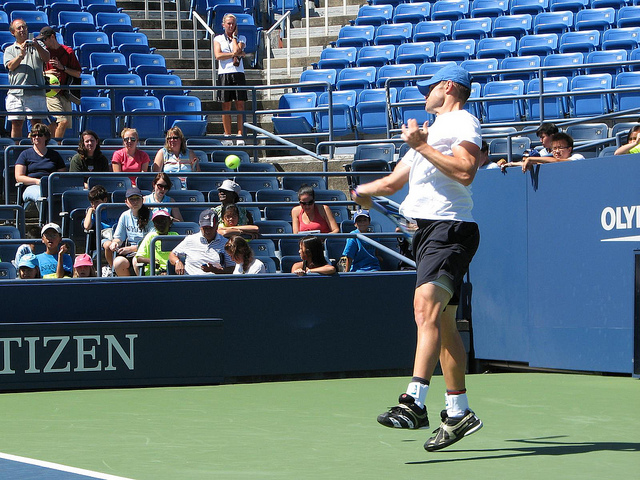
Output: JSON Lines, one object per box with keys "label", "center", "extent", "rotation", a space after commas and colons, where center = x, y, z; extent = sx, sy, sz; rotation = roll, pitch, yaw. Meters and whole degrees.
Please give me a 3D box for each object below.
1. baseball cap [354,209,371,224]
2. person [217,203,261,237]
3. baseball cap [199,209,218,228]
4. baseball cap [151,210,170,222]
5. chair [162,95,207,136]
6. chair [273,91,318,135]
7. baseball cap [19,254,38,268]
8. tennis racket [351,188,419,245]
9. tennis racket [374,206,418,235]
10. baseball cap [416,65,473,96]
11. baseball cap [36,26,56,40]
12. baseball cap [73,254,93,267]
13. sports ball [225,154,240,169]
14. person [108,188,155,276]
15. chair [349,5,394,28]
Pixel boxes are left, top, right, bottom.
{"label": "baseball cap", "center": [0.485, -0.303, 13.574], "extent": [0.211, 0.141, 0.328], "rotation": [0, -12, 3]}
{"label": "person", "center": [-1.031, -0.275, 12.842], "extent": [0.554, 0.298, 0.729], "rotation": [-1, 13, -8]}
{"label": "baseball cap", "center": [-1.223, -0.224, 12.221], "extent": [0.183, 0.172, 0.289], "rotation": [-2, 9, -9]}
{"label": "baseball cap", "center": [-1.795, -0.268, 12.643], "extent": [0.194, 0.108, 0.279], "rotation": [-2, 9, -9]}
{"label": "chair", "center": [-2.188, -1.963, 18.139], "extent": [0.722, 0.723, 0.606], "rotation": [0, 8, -26]}
{"label": "chair", "center": [-0.446, -2.023, 18.543], "extent": [0.693, 0.745, 0.776], "rotation": [10, 19, 43]}
{"label": "baseball cap", "center": [-3.052, 0.223, 11.792], "extent": [0.187, 0.128, 0.174], "rotation": [1, 9, 8]}
{"label": "tennis racket", "center": [0.609, -0.175, 9.444], "extent": [0.385, 0.312, 0.633], "rotation": [0, 9, 3]}
{"label": "tennis racket", "center": [0.703, -0.178, 10.675], "extent": [0.216, 0.040, 0.502], "rotation": [46, -14, -33]}
{"label": "baseball cap", "center": [1.015, -1.354, 9.359], "extent": [0.416, 0.201, 0.260], "rotation": [9, 1, 11]}
{"label": "baseball cap", "center": [-4.015, -2.986, 16.454], "extent": [0.275, 0.127, 0.172], "rotation": [-29, 29, -31]}
{"label": "baseball cap", "center": [-2.558, 0.228, 12.138], "extent": [0.179, 0.128, 0.256], "rotation": [-2, 9, -12]}
{"label": "sports ball", "center": [-1.200, -1.063, 15.245], "extent": [0.166, 0.151, 0.198], "rotation": [9, -20, -17]}
{"label": "person", "center": [-2.131, -0.100, 12.649], "extent": [0.495, 0.913, 0.758], "rotation": [-1, 9, -4]}
{"label": "chair", "center": [1.029, -4.646, 23.369], "extent": [0.701, 0.745, 0.722], "rotation": [1, 2, 15]}
